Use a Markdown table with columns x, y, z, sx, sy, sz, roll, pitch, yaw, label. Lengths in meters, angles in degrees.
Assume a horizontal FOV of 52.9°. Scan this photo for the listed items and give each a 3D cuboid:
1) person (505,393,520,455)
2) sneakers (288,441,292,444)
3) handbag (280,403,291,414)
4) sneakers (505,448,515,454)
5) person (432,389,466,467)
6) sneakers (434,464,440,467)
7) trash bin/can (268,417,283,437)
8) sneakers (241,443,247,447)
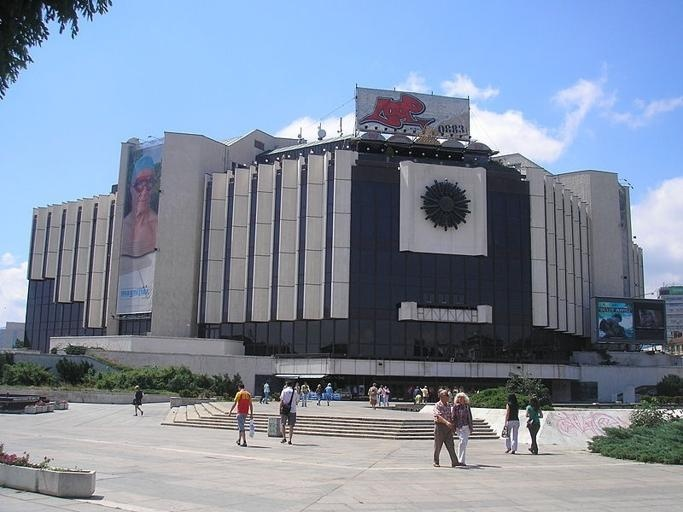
| x | y | z | sx | sy | sz | roll | pitch | yaw | label |
| --- | --- | --- | --- | --- | --- | --- | --- | --- | --- |
| 6.308 | 6.242 | 25.433 | 0.499 | 2.161 | 1.527 | -2 | -13 | 13 | person |
| -2.066 | 7.381 | 27.020 | 0.098 | 0.105 | 0.181 | -1 | 1 | -6 | sneakers |
| -2.235 | 6.014 | 26.951 | 0.317 | 0.423 | 0.390 | 6 | 16 | 8 | handbag |
| 6.316 | 7.348 | 25.640 | 0.288 | 0.199 | 0.111 | 17 | -20 | -32 | sneakers |
| 3.343 | 5.516 | 21.992 | 0.844 | 2.452 | 1.561 | -2 | -13 | 12 | person |
| 3.012 | 6.683 | 21.890 | 0.227 | 0.098 | 0.076 | -6 | -3 | 22 | sneakers |
| -2.863 | 7.352 | 29.347 | 0.748 | 1.099 | 0.757 | 0 | -11 | -3 | trash bin/can |
| -3.742 | 7.176 | 26.011 | 0.254 | 0.112 | 0.492 | 2 | -13 | -9 | sneakers |
